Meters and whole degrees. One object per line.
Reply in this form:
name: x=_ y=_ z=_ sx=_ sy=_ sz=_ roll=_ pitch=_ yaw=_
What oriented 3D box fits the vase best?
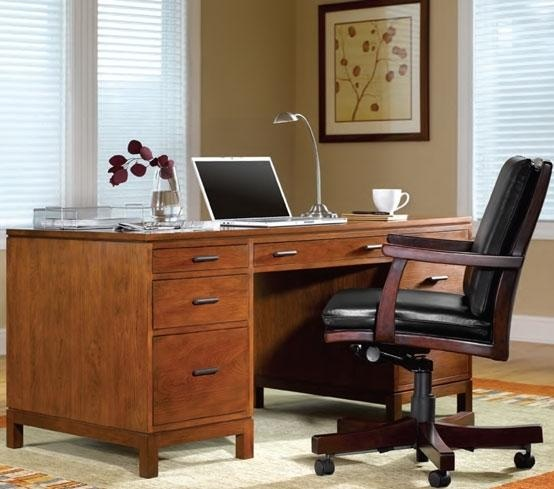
vase: x=-0.379 y=-0.167 z=1.975 sx=0.155 sy=0.185 sz=0.135 roll=3 pitch=11 yaw=11

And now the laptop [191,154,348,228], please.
laptop: x=-0.039 y=-0.199 z=2.153 sx=0.434 sy=0.225 sz=0.455 roll=-1 pitch=1 yaw=40

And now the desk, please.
desk: x=-0.124 y=0.320 z=1.757 sx=1.060 sy=0.417 sz=0.500 roll=0 pitch=-1 yaw=-43
